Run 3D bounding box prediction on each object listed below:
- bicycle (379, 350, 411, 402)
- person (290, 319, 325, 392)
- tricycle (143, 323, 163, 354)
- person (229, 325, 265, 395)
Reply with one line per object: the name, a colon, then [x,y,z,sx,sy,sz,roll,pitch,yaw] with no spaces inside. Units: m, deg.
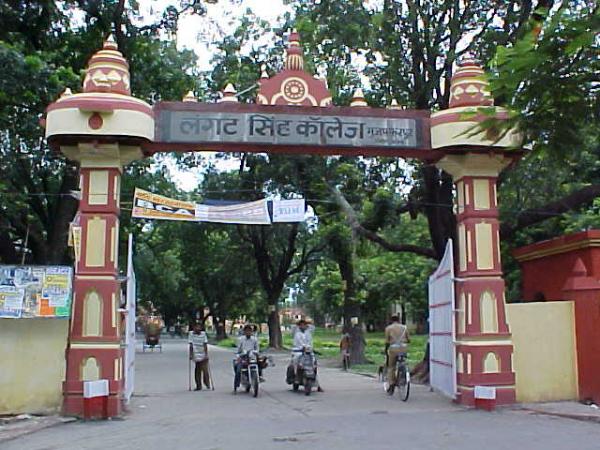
bicycle: [2.525,3.856,19.568,0.617,0.894,1.427,1,-5,-4]
person: [0.236,3.699,21.434,0.882,1.327,2.074,2,5,-4]
tricycle: [-8.623,6.709,46.069,0.976,1.709,2.908,0,-4,-7]
person: [-1.363,3.766,21.399,0.948,1.374,2.100,-2,6,-10]
